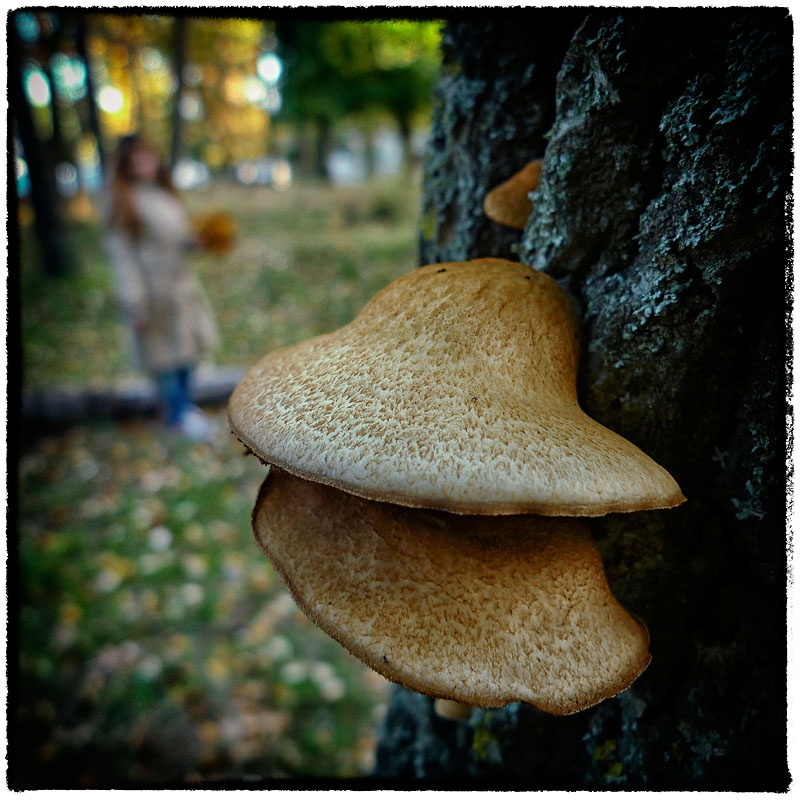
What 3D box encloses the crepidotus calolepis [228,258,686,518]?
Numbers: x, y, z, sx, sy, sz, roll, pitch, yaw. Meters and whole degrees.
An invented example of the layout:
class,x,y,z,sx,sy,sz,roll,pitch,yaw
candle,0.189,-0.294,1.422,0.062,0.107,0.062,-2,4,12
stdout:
class,x,y,z,sx,sy,sz,roll,pitch,yaw
crepidotus calolepis,0.048,-0.118,2.330,1.172,0.529,1.237,5,7,-31
